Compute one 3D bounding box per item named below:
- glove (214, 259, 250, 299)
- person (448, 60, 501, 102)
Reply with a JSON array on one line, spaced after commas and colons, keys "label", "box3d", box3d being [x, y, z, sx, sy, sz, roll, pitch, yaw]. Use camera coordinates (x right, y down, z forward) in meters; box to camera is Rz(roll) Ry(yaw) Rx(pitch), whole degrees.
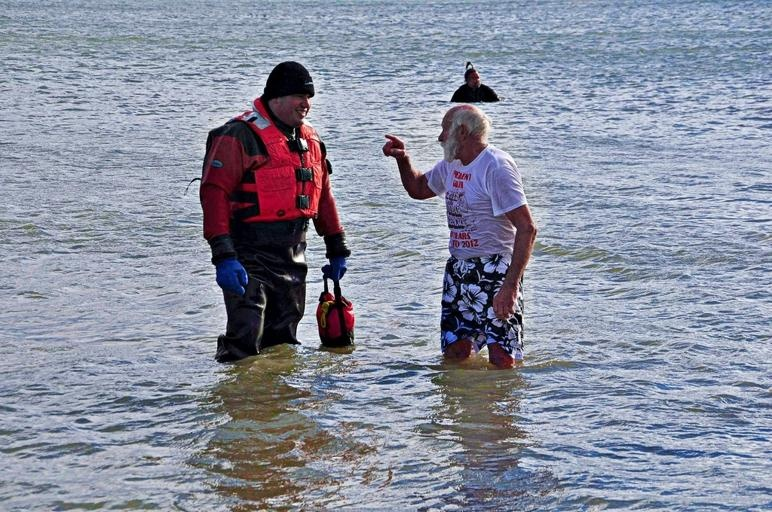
[{"label": "glove", "box3d": [-2.060, 0.291, 19.329, 0.436, 0.552, 0.362, 2, 16, -4]}, {"label": "person", "box3d": [1.796, -3.764, 31.637, 1.468, 0.783, 0.630, -8, 22, -34]}]
